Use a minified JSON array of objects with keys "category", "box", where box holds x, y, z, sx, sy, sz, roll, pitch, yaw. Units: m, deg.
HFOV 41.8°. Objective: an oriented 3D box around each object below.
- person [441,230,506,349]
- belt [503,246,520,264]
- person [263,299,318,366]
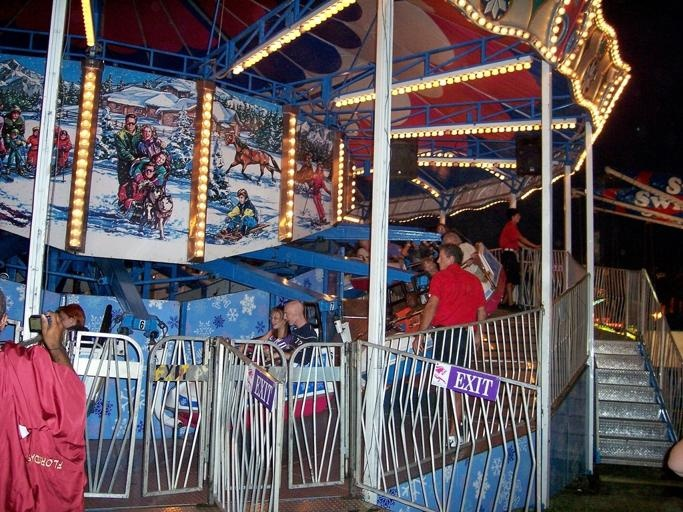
[{"category":"person","box":[2.382,0.533,15.489,0.665,1.906,1.338,-4,-8,-21]},{"category":"belt","box":[3.176,-0.003,17.056,0.329,0.496,0.278,1,-10,9]},{"category":"person","box":[-0.717,1.047,12.393,0.711,0.897,2.216,2,-8,-5]}]
